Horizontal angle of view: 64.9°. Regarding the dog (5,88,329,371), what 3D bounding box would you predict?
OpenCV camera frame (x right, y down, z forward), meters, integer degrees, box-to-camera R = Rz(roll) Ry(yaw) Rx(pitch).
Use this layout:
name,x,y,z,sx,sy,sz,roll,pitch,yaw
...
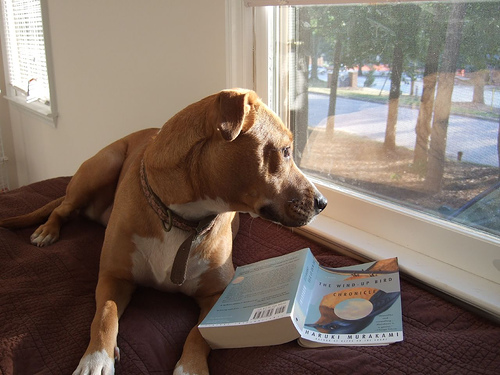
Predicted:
name,x,y,z,sx,sy,sz,roll,pitch,yaw
dog,-0.327,0.019,1.444,0.788,0.765,0.956,-13,22,-36
